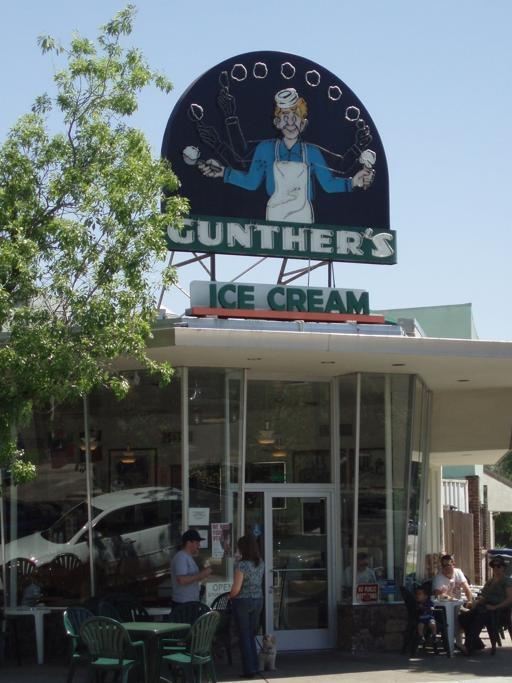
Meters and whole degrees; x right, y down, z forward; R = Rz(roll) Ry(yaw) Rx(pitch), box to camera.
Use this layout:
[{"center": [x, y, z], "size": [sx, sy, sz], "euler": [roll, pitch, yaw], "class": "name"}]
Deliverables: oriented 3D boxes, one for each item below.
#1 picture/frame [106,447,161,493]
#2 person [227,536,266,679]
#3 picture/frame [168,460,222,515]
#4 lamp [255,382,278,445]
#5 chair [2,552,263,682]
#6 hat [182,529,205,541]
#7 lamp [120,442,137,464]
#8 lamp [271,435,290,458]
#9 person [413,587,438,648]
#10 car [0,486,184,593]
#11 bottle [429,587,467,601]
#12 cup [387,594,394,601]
[{"center": [-1.621, 1.741, 14.100], "size": [0.619, 0.618, 0.028], "euler": [0, -7, 2], "class": "picture/frame"}, {"center": [-0.111, 3.032, 12.027], "size": [0.372, 1.604, 0.705], "euler": [-3, -6, 2], "class": "person"}, {"center": [-0.773, 1.920, 13.833], "size": [0.775, 0.704, 0.186], "euler": [4, -2, -8], "class": "picture/frame"}, {"center": [0.111, 1.024, 14.833], "size": [0.266, 0.908, 0.220], "euler": [-2, -6, -4], "class": "lamp"}, {"center": [-1.523, 3.164, 12.291], "size": [2.261, 1.550, 3.623], "euler": [3, -8, -43], "class": "chair"}, {"center": [-0.720, 2.282, 12.286], "size": [0.269, 0.148, 0.197], "euler": [-6, 6, -12], "class": "hat"}, {"center": [-1.727, 1.514, 14.171], "size": [0.203, 0.222, 0.201], "euler": [2, -7, -11], "class": "lamp"}, {"center": [0.319, 1.476, 14.751], "size": [0.295, 0.323, 0.084], "euler": [5, -13, -29], "class": "lamp"}, {"center": [2.234, 3.664, 13.952], "size": [0.256, 0.832, 0.606], "euler": [-3, -6, 9], "class": "person"}, {"center": [-2.167, 2.547, 14.111], "size": [2.495, 0.838, 1.051], "euler": [-5, 6, -9], "class": "car"}, {"center": [2.548, 3.388, 14.092], "size": [0.333, 0.119, 0.239], "euler": [-1, -5, 8], "class": "bottle"}, {"center": [1.838, 3.503, 14.435], "size": [0.086, 0.096, 0.087], "euler": [0, -3, 0], "class": "cup"}]
